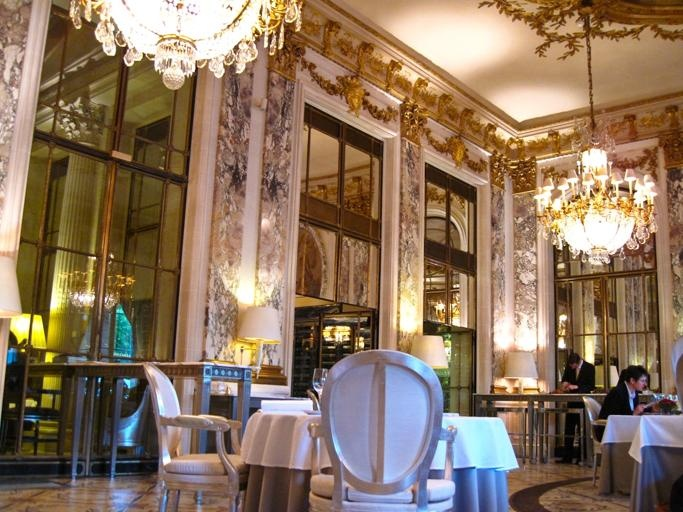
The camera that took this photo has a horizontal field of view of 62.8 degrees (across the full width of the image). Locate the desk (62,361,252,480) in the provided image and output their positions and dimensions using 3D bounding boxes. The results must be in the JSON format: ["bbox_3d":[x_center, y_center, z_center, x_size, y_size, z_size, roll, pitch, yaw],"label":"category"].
[{"bbox_3d":[-2.236,1.601,6.113,1.385,0.897,0.632,6,-6,-23],"label":"desk"}]

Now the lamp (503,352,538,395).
[{"bbox_3d":[3.665,2.344,11.425,0.651,0.827,0.666,-2,0,-14],"label":"lamp"}]

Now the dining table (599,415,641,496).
[{"bbox_3d":[2.896,2.128,5.998,0.476,0.680,0.456,9,-13,3],"label":"dining table"}]

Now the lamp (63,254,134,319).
[{"bbox_3d":[-2.880,0.351,6.677,0.553,0.547,0.600,2,-3,0],"label":"lamp"}]

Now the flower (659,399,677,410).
[{"bbox_3d":[3.448,1.577,5.894,0.111,0.097,0.115,2,-4,-7],"label":"flower"}]

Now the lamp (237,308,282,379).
[{"bbox_3d":[-1.062,1.062,7.422,0.530,0.966,0.758,6,-16,-27],"label":"lamp"}]

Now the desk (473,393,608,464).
[{"bbox_3d":[3.523,3.139,10.210,1.862,1.169,0.712,-6,-14,29],"label":"desk"}]

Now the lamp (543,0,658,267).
[{"bbox_3d":[3.951,-1.858,8.810,1.461,3.768,1.529,-1,-2,-30],"label":"lamp"}]
